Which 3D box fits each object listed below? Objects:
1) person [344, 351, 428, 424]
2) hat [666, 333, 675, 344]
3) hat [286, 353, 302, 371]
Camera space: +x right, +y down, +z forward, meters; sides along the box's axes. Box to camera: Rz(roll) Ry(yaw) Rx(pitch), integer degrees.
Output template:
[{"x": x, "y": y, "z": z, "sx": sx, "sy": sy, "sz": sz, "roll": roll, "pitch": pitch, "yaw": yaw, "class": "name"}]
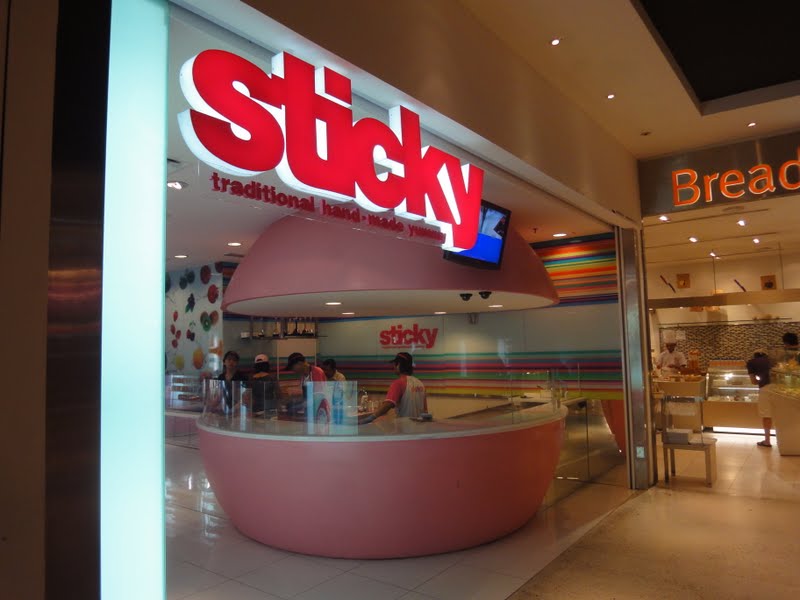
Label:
[{"x": -0.021, "y": 0.718, "z": 4.702, "sx": 0.376, "sy": 0.509, "sz": 0.772, "roll": 0, "pitch": 0, "yaw": 15, "class": "person"}, {"x": 5.120, "y": 0.711, "z": 10.705, "sx": 0.051, "sy": 0.180, "sz": 0.164, "roll": 6, "pitch": -13, "yaw": -33, "class": "hat"}, {"x": -0.979, "y": 0.557, "z": 5.236, "sx": 0.090, "sy": 0.142, "sz": 0.134, "roll": 0, "pitch": -13, "yaw": -7, "class": "hat"}]
